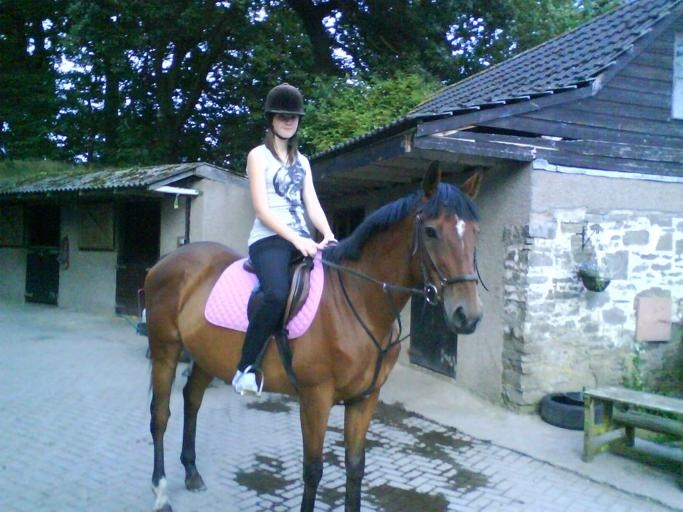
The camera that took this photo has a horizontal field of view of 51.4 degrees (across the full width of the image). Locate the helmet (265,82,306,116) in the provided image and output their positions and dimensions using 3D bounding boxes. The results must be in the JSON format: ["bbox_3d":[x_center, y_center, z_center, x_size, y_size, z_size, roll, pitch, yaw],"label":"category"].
[{"bbox_3d":[-0.735,-1.929,8.755,0.315,0.379,0.433,-4,18,-20],"label":"helmet"}]

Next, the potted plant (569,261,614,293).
[{"bbox_3d":[4.005,0.360,11.351,0.575,0.472,0.298,1,3,5],"label":"potted plant"}]
